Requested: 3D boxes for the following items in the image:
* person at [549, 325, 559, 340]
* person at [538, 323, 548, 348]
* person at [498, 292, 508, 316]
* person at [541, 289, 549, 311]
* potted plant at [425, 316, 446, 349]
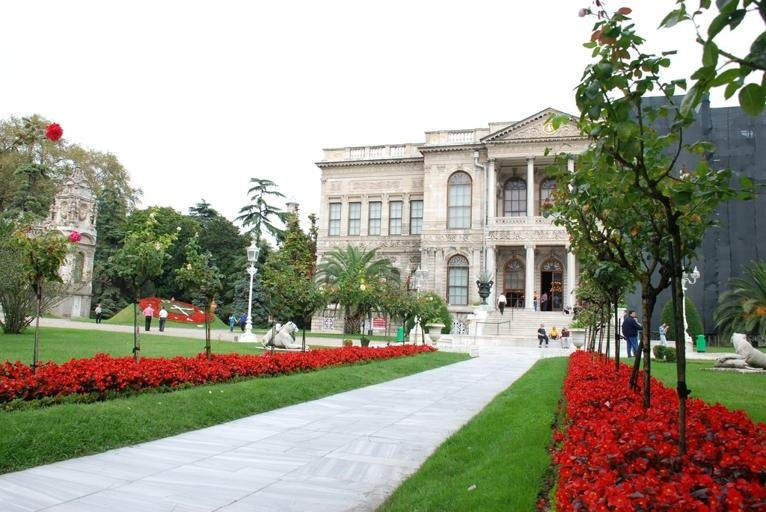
[{"bbox_3d":[10.981,4.981,38.284,0.730,1.022,0.727,-1,-17,5],"label":"person"},{"bbox_3d":[9.575,4.860,35.678,0.582,1.268,1.358,1,0,15],"label":"person"},{"bbox_3d":[8.408,3.445,42.258,0.445,1.331,1.884,1,0,8],"label":"person"},{"bbox_3d":[12.532,3.441,46.384,0.581,1.513,2.287,1,0,15],"label":"person"},{"bbox_3d":[2.988,4.160,32.574,1.049,1.260,1.093,3,-13,-8],"label":"potted plant"}]
